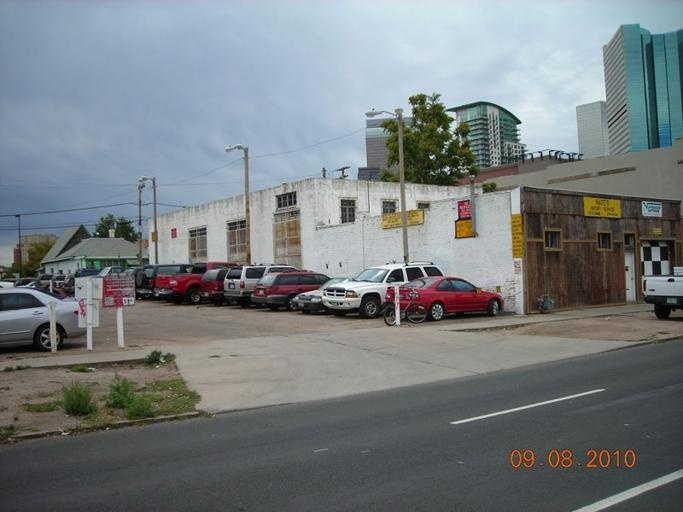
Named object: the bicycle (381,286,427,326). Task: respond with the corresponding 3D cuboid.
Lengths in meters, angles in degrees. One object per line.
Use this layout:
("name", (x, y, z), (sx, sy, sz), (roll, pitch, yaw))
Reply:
("bicycle", (2.167, 1.717, 22.348), (1.093, 1.349, 2.186), (13, -17, -31))

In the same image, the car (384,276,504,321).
("car", (3.697, 1.542, 23.331), (3.819, 1.225, 1.720), (-3, 0, -28))
